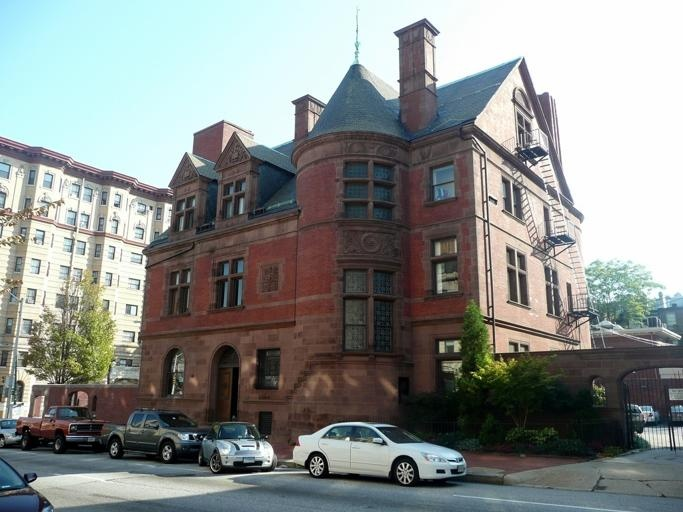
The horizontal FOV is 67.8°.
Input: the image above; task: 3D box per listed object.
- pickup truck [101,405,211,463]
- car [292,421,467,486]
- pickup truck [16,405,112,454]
[{"bbox_3d":[-7.501,7.436,21.180,4.581,2.077,1.147,-11,-22,29],"label":"pickup truck"},{"bbox_3d":[1.178,6.114,16.381,4.931,1.524,2.108,-12,-23,31],"label":"car"},{"bbox_3d":[-13.989,8.725,25.657,5.315,2.206,1.609,-14,-23,35],"label":"pickup truck"}]
